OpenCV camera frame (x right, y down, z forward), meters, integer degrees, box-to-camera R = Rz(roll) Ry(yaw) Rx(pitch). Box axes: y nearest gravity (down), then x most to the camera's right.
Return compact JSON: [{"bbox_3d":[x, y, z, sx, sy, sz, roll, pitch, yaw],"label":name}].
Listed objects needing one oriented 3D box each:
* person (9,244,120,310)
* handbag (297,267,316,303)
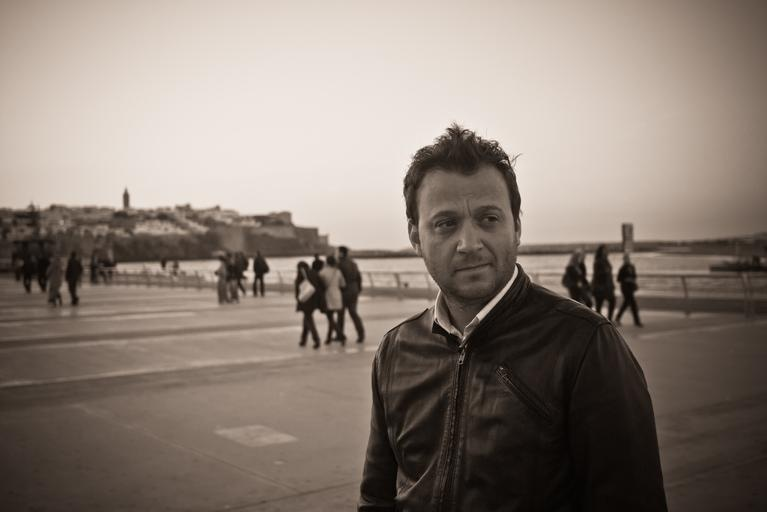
[{"bbox_3d":[-3.556,0.169,7.919,1.031,0.750,0.212,-3,11,-18],"label":"person"},{"bbox_3d":[-1.169,0.424,10.723,0.160,0.443,0.323,-2,-41,-27],"label":"handbag"}]
